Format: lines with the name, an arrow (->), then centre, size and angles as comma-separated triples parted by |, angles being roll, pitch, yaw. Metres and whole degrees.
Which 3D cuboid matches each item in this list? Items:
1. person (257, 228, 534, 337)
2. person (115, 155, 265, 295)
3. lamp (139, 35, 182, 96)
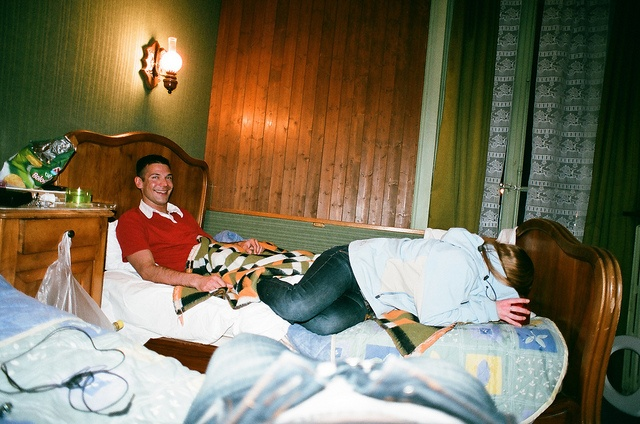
person -> 0.462, 0.386, 2.338 | 1.171, 0.447, 0.719 | 0, 10, 8
person -> -0.787, 0.091, 2.852 | 1.174, 0.878, 0.831 | 4, 11, 15
lamp -> -1.251, -1.198, 3.404 | 0.216, 0.435, 0.415 | 4, 12, 11
